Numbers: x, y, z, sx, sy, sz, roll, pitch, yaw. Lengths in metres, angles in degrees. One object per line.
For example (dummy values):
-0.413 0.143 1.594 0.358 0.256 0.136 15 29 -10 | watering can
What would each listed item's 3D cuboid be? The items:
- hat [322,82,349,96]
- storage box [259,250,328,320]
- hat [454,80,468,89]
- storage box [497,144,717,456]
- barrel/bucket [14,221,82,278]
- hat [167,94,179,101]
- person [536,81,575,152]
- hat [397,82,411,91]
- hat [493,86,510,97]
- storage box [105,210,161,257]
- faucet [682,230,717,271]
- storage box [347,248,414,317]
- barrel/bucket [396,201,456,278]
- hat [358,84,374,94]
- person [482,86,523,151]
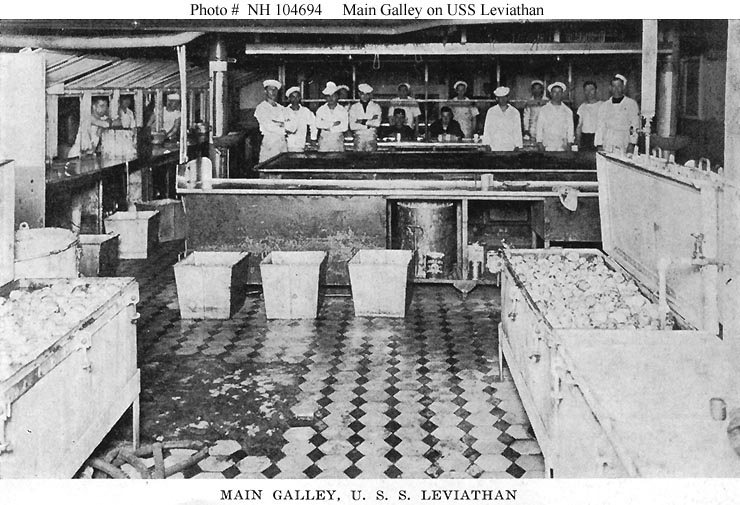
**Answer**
-0.808 -3.702 15.044 0.570 0.273 0.818 -4 22 -1 | hat
-0.965 0.199 8.479 0.681 0.790 1.053 0 11 3 | storage box
2.074 -3.850 15.277 0.235 0.157 0.375 2 15 16 | hat
2.057 0.413 5.820 0.983 2.240 2.584 2 12 5 | storage box
-3.609 0.008 7.387 0.660 0.467 0.715 2 5 0 | barrel/bucket
-4.855 -3.896 16.397 0.237 0.184 0.143 2 22 1 | hat
3.856 -2.840 13.877 0.741 1.362 0.425 1 12 15 | person
0.758 -3.724 15.003 0.247 0.167 0.366 0 12 2 | hat
2.685 -3.257 13.371 0.308 0.097 0.331 10 29 30 | hat
-3.925 -0.353 10.958 1.061 0.734 0.633 2 14 6 | storage box
2.630 -0.001 5.312 0.109 0.337 0.438 -1 14 6 | faucet
0.132 0.414 8.351 0.759 0.853 0.811 1 8 5 | storage box
0.661 -0.247 9.621 0.869 1.116 0.942 0 8 0 | barrel/bucket
-0.104 -3.373 13.707 0.242 0.187 0.511 -3 15 -4 | hat
2.791 -2.762 13.745 0.781 1.293 0.802 -5 12 -11 | person
